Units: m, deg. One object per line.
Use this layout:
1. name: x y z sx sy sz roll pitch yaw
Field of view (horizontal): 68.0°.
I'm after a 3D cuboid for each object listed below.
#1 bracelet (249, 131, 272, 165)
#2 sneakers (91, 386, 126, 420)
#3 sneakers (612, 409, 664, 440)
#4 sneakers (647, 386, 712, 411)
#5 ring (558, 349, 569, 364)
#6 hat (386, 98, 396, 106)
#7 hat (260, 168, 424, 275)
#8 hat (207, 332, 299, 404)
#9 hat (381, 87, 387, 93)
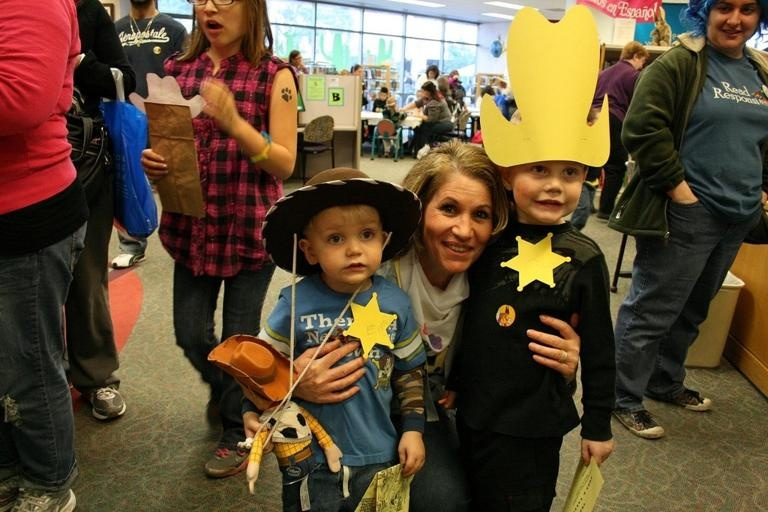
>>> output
1. bracelet: -0.458 -0.417 2.160 0.091 0.107 0.039 5 5 -26
2. sneakers: -1.371 0.739 2.850 0.111 0.093 0.207 -3 9 -25
3. sneakers: 1.341 0.870 3.021 0.105 0.084 0.228 -3 8 -31
4. sneakers: 1.667 0.803 3.276 0.343 0.136 0.126 4 13 22
5. ring: 0.597 0.335 1.901 0.031 0.036 0.036 38 33 -1
6. hat: 0.125 -2.877 10.522 0.125 0.170 0.165 2 -22 3
7. hat: -0.152 -0.145 1.829 0.375 0.379 0.106 -14 56 4
8. hat: -0.402 0.326 1.750 0.194 0.254 0.092 -46 9 -27
9. hat: 0.010 -3.276 11.184 0.093 0.114 0.122 4 15 -7
